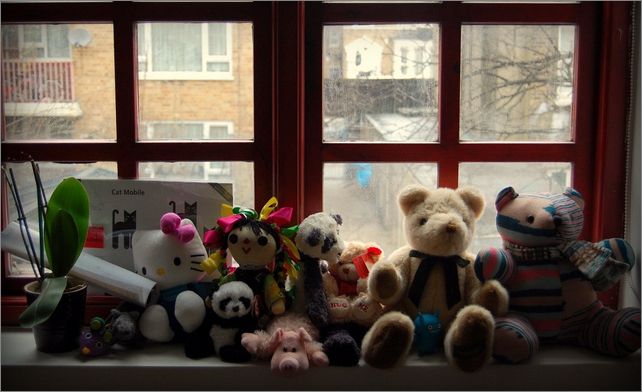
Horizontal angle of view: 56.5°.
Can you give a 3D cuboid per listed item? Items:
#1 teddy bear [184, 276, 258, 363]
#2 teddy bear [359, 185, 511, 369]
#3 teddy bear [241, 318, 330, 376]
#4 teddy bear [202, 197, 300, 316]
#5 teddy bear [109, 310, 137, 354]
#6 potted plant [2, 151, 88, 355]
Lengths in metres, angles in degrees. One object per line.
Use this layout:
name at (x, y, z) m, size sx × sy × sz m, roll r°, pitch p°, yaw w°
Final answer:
teddy bear at (-0.382, 0.475, 2.299) m, size 0.256 × 0.286 × 0.221 m, roll 4°, pitch -7°, yaw -37°
teddy bear at (0.429, 0.296, 2.324) m, size 0.576 × 0.632 × 0.562 m, roll 0°, pitch 12°, yaw -5°
teddy bear at (-0.131, 0.550, 2.329) m, size 0.315 × 0.146 × 0.344 m, roll 1°, pitch 23°, yaw -1°
teddy bear at (-0.278, 0.253, 2.346) m, size 0.439 × 0.581 × 0.215 m, roll -1°, pitch -16°, yaw 6°
teddy bear at (-0.775, 0.521, 2.347) m, size 0.107 × 0.124 × 0.127 m, roll 5°, pitch -10°, yaw -32°
potted plant at (-1.064, 0.224, 2.360) m, size 0.288 × 0.753 × 0.394 m, roll -7°, pitch 11°, yaw -26°
